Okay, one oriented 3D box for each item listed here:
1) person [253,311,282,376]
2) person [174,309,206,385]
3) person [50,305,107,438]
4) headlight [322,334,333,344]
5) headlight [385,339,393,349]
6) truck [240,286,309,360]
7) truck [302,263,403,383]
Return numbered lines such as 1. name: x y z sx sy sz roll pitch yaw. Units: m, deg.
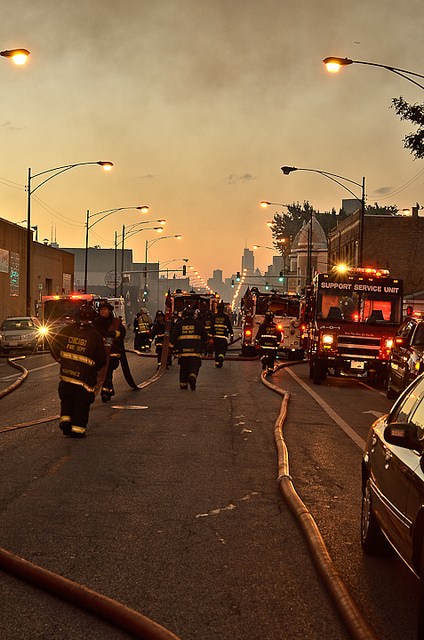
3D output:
1. person: 2.177 0.902 19.812 0.926 2.507 1.166 1 2 7
2. person: -0.682 0.779 14.679 0.829 2.191 0.525 1 2 -1
3. person: -2.074 0.808 7.903 0.819 2.051 0.483 0 2 -19
4. headlight: 3.984 0.651 17.549 0.356 0.326 0.122 1 2 5
5. headlight: 5.968 0.802 17.155 0.202 0.287 0.713 2 3 16
6. truck: 3.454 0.415 30.939 3.411 3.928 6.340 3 -1 -5
7. truck: 5.268 -0.018 20.012 2.721 3.291 5.225 1 -1 -1
